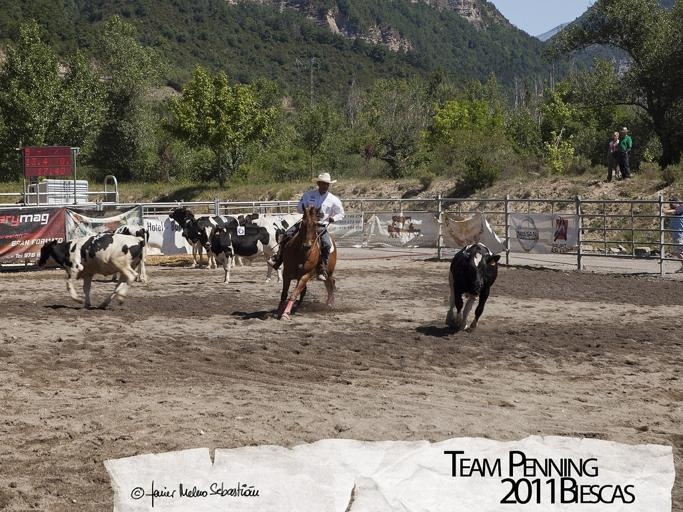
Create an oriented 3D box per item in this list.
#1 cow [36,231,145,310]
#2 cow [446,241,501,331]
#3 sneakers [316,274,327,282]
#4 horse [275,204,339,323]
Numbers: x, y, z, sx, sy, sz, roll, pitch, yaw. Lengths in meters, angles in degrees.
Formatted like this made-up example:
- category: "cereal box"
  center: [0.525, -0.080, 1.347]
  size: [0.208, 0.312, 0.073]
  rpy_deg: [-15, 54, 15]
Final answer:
- category: "cow"
  center: [-5.381, 0.264, 15.935]
  size: [2.217, 1.568, 1.241]
  rpy_deg: [8, 14, 32]
- category: "cow"
  center: [2.390, 0.595, 13.688]
  size: [0.731, 1.661, 0.944]
  rpy_deg: [-9, 14, -39]
- category: "sneakers"
  center: [-0.401, 0.453, 15.173]
  size: [0.221, 0.137, 0.339]
  rpy_deg: [1, 1, 11]
- category: "horse"
  center: [-0.714, 0.042, 15.068]
  size: [1.187, 2.362, 2.162]
  rpy_deg: [0, 12, -2]
